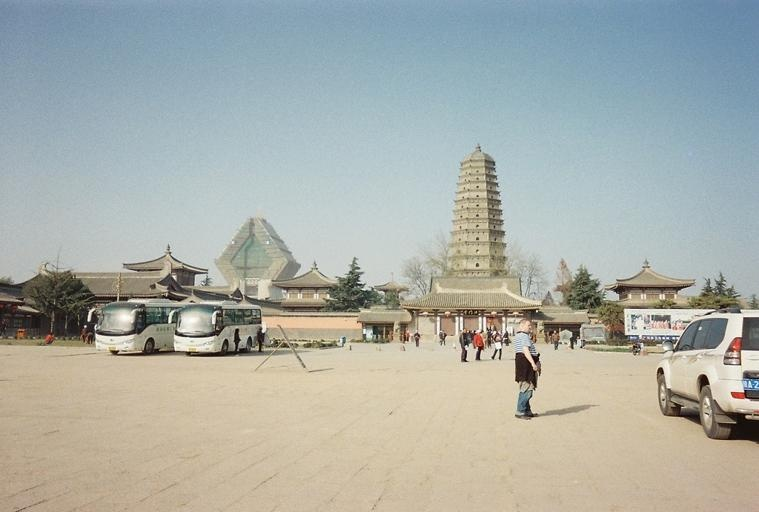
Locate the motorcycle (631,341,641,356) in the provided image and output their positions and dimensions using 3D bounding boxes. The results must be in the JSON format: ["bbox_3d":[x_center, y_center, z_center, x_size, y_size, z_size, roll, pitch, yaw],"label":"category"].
[{"bbox_3d":[17.702,6.312,42.697,0.733,1.165,0.742,-2,2,14],"label":"motorcycle"}]

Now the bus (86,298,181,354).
[{"bbox_3d":[-13.300,3.633,32.464,2.130,2.128,5.584,-3,-10,8],"label":"bus"}]

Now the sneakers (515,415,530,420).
[{"bbox_3d":[3.218,3.589,13.892,0.284,0.121,0.105,-1,0,15],"label":"sneakers"}]

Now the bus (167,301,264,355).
[{"bbox_3d":[-8.929,4.103,34.923,2.661,2.991,7.547,-2,-8,7],"label":"bus"}]
